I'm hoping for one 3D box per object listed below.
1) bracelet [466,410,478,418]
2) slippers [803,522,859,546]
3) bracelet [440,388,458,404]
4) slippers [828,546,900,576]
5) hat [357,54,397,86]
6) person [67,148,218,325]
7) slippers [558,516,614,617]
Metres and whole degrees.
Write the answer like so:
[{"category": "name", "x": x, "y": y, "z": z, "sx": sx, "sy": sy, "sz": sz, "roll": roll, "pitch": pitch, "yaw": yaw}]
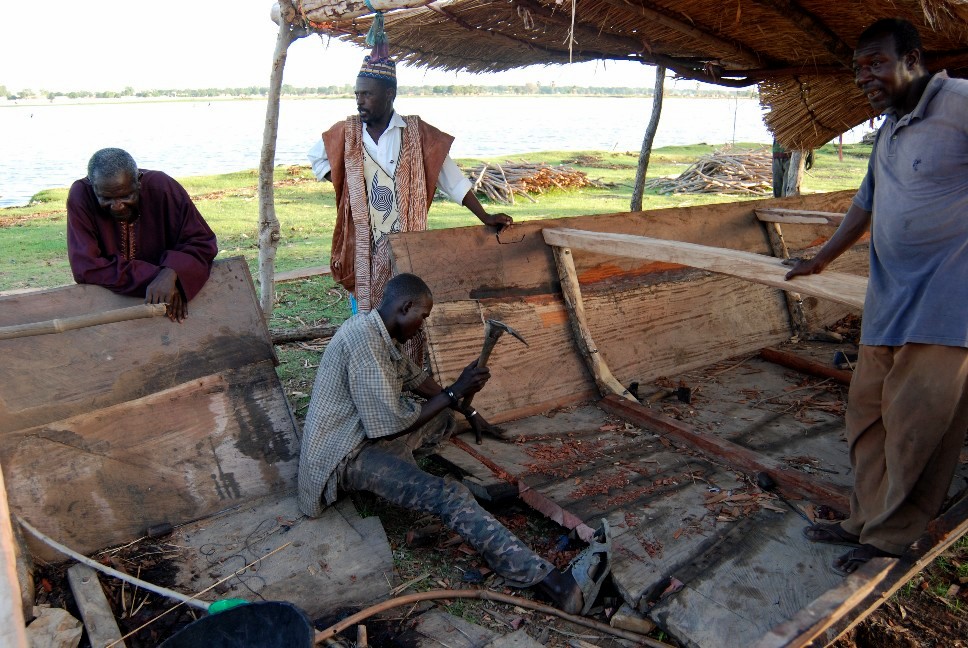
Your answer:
[{"category": "bracelet", "x": -0.088, "y": 0.614, "z": 4.379, "sx": 0.046, "sy": 0.043, "sz": 0.052, "roll": 5, "pitch": -14, "yaw": -9}, {"category": "slippers", "x": 1.912, "y": 1.158, "z": 3.555, "sx": 0.259, "sy": 0.080, "sz": 0.089, "roll": 2, "pitch": 25, "yaw": 33}, {"category": "bracelet", "x": -0.201, "y": 0.428, "z": 3.820, "sx": 0.101, "sy": 0.081, "sz": 0.036, "roll": 31, "pitch": 70, "yaw": 31}, {"category": "slippers", "x": 1.920, "y": 1.209, "z": 3.345, "sx": 0.378, "sy": 0.139, "sz": 0.091, "roll": -19, "pitch": 46, "yaw": 14}, {"category": "hat", "x": -0.735, "y": -1.775, "z": 4.471, "sx": 0.189, "sy": 0.188, "sz": 0.317, "roll": 14, "pitch": 24, "yaw": 38}, {"category": "person", "x": -2.109, "y": -0.541, "z": 3.915, "sx": 0.810, "sy": 1.043, "sz": 0.538, "roll": -13, "pitch": 24, "yaw": -25}, {"category": "slippers", "x": 0.529, "y": 1.251, "z": 3.276, "sx": 0.374, "sy": 0.450, "sz": 0.206, "roll": -19, "pitch": 28, "yaw": -38}]
